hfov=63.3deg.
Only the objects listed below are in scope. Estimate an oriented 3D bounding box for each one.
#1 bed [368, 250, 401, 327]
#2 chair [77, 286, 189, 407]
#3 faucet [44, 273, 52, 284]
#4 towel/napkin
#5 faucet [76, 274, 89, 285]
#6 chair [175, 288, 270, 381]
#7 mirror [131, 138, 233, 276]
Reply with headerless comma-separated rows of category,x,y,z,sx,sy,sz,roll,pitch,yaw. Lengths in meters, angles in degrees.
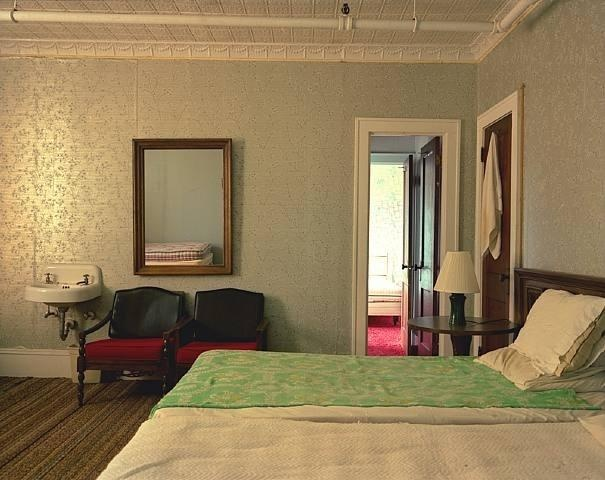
bed,1.298,0.699,7.733,0.722,0.757,1.221,0,6,1
chair,-1.603,0.877,4.495,0.859,1.013,1.022,0,-7,-1
faucet,-2.438,0.377,4.697,0.096,0.105,0.074,-1,0,23
towel/napkin,1.658,-0.387,4.253,0.165,1.085,0.421,4,9,16
faucet,-2.087,0.386,4.671,0.106,0.093,0.095,1,-2,33
chair,-0.724,0.825,4.388,0.742,0.844,0.674,0,-3,-1
mirror,-1.152,-0.317,4.676,0.944,1.293,0.281,0,9,-4
